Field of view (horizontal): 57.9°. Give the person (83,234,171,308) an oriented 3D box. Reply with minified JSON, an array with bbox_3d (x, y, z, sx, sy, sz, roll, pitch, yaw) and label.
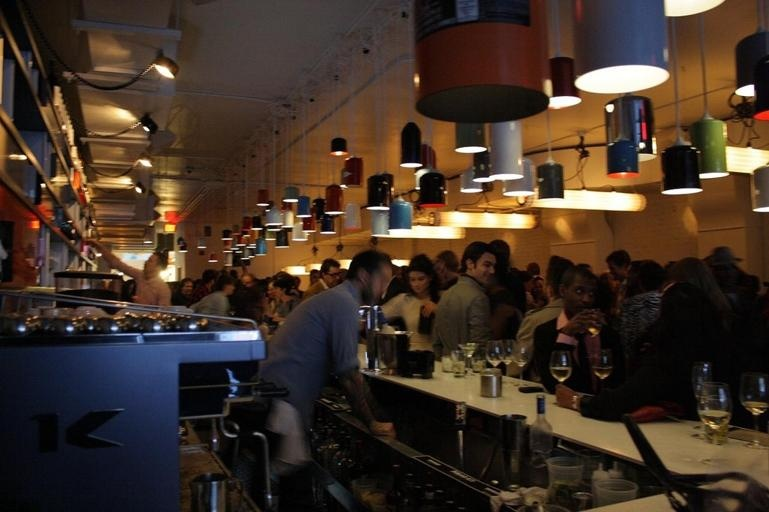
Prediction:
[{"bbox_3d":[-2.886,0.236,8.053,0.720,0.693,1.417,-1,-5,-20],"label":"person"}]

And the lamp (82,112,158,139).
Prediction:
[{"bbox_3d":[-2.754,-1.383,7.368,0.492,0.170,0.360,-17,7,-27],"label":"lamp"}]

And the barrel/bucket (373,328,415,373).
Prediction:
[{"bbox_3d":[0.065,0.683,4.969,0.292,0.296,0.276,1,-13,0],"label":"barrel/bucket"}]

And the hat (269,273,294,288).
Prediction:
[{"bbox_3d":[-1.423,0.332,9.583,0.233,0.111,0.270,5,-10,-28],"label":"hat"}]

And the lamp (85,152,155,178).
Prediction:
[{"bbox_3d":[-3.677,-1.199,9.604,0.762,0.256,0.574,0,0,-38],"label":"lamp"}]

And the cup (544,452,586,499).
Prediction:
[{"bbox_3d":[0.783,0.970,3.056,0.164,0.160,0.154,4,-13,1],"label":"cup"}]

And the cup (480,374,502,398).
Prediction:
[{"bbox_3d":[0.625,0.772,4.123,0.135,0.136,0.132,3,-11,0],"label":"cup"}]

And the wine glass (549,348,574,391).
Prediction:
[{"bbox_3d":[0.980,0.613,3.889,0.108,0.171,0.090,-5,-6,22],"label":"wine glass"}]

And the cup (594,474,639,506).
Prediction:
[{"bbox_3d":[0.975,1.015,2.990,0.151,0.106,0.158,-3,-5,0],"label":"cup"}]

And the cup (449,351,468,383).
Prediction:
[{"bbox_3d":[0.519,0.771,4.907,0.163,0.223,0.149,0,-16,0],"label":"cup"}]
